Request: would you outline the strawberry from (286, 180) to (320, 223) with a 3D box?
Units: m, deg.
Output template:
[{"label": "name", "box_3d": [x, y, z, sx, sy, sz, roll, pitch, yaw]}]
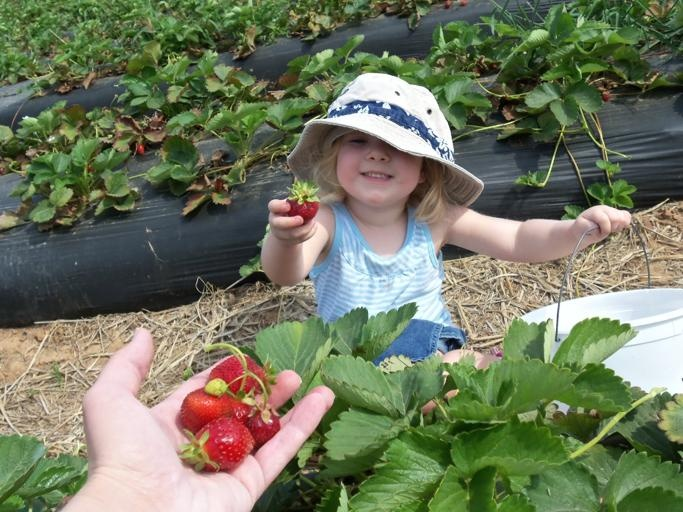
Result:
[{"label": "strawberry", "box_3d": [-0.167, -0.223, 2.579, 0.132, 0.194, 0.108, -9, 19, -5]}]

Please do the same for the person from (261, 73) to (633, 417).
[{"label": "person", "box_3d": [0.413, -0.216, 3.209, 1.315, 1.994, 1.190, -1, 30, 0]}]
